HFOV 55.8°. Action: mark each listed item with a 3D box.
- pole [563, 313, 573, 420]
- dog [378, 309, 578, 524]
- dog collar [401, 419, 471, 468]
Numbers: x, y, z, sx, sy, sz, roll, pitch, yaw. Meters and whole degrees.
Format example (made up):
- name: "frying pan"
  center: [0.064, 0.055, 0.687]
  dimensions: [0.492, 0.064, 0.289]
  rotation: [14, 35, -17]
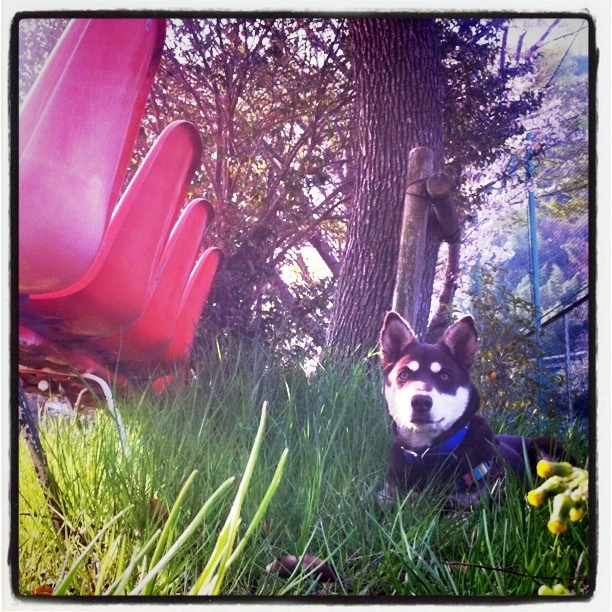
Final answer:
- name: "pole"
  center: [0.932, 0.217, 2.050]
  dimensions: [0.049, 0.370, 0.015]
  rotation: [3, -1, -25]
- name: "dog"
  center: [0.586, 0.418, 2.193]
  dimensions: [0.644, 0.770, 0.458]
  rotation: [5, -5, -31]
- name: "dog collar"
  center: [0.457, 0.455, 2.025]
  dimensions: [0.170, 0.198, 0.191]
  rotation: [5, -7, -17]
